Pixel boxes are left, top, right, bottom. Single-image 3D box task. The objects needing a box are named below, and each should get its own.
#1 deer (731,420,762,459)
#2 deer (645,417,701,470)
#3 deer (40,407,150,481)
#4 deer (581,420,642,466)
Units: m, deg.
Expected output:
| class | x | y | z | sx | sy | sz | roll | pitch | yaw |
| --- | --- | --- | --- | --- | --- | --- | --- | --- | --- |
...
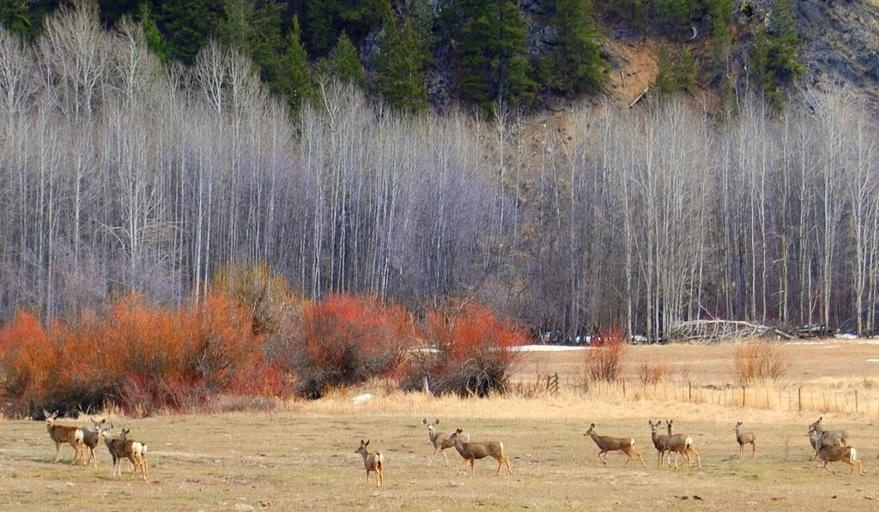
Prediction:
| class | x | y | z | sx | sy | sz | roll | pitch | yaw |
| --- | --- | --- | --- | --- | --- | --- | --- | --- | --- |
| deer | 22.265 | 13.331 | 133.733 | 1.591 | 2.425 | 3.060 | -1 | -4 | 10 |
| deer | 16.357 | 14.255 | 132.560 | 2.137 | 4.889 | 5.037 | 1 | -1 | 26 |
| deer | -24.388 | 13.968 | 131.683 | 7.379 | 4.246 | 1.437 | -2 | -3 | 15 |
| deer | 12.531 | 13.661 | 132.332 | 4.243 | 3.233 | 1.244 | 1 | 6 | 13 |
